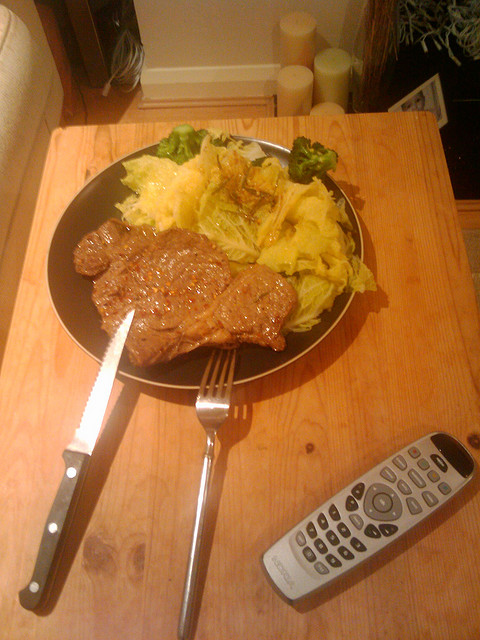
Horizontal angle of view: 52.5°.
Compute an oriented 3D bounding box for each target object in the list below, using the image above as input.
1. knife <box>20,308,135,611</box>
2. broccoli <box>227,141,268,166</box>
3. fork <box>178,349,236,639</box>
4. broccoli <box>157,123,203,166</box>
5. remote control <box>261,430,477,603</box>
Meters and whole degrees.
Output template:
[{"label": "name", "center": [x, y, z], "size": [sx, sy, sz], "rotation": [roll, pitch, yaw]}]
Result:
[{"label": "knife", "center": [-0.210, 0.163, 0.642], "size": [0.037, 0.052, 0.383], "rotation": [10, 64, 12]}, {"label": "broccoli", "center": [0.020, -0.294, 0.856], "size": [0.052, 0.014, 0.056], "rotation": [22, 66, -1]}, {"label": "fork", "center": [-0.035, 0.210, 0.636], "size": [0.042, 0.025, 0.355], "rotation": [7, 73, 5]}, {"label": "broccoli", "center": [-0.103, -0.324, 0.906], "size": [0.107, 0.115, 0.054], "rotation": [-4, 81, -13]}, {"label": "remote control", "center": [0.165, 0.242, 0.610], "size": [0.298, 0.037, 0.080], "rotation": [-31, 62, -9]}]
